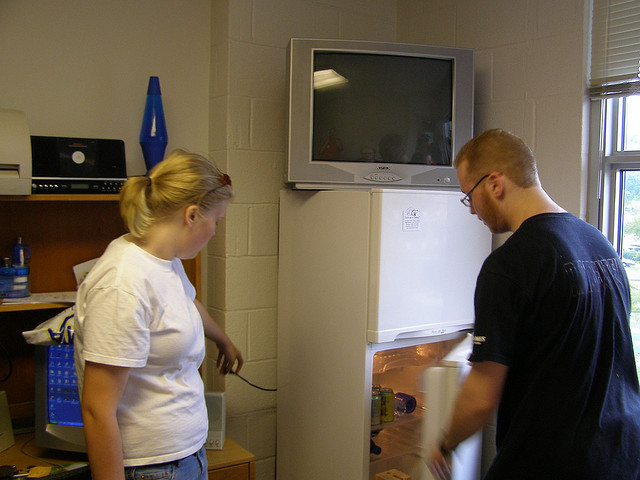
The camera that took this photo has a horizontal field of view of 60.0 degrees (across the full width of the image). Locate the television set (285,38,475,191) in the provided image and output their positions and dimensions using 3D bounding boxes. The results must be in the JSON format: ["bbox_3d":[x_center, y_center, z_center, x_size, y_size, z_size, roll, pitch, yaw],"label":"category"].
[{"bbox_3d":[0.229,-0.576,2.820,1.077,0.908,0.648,0,3,-23],"label":"television set"}]

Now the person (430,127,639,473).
[{"bbox_3d":[0.698,0.204,1.792,0.664,1.127,0.307,0,6,11],"label":"person"}]

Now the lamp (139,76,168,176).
[{"bbox_3d":[-0.777,-0.551,2.595,0.121,0.454,0.166,-3,6,-19],"label":"lamp"}]

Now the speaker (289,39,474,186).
[{"bbox_3d":[0.298,-0.593,2.792,0.897,0.704,0.521,2,7,4],"label":"speaker"}]
